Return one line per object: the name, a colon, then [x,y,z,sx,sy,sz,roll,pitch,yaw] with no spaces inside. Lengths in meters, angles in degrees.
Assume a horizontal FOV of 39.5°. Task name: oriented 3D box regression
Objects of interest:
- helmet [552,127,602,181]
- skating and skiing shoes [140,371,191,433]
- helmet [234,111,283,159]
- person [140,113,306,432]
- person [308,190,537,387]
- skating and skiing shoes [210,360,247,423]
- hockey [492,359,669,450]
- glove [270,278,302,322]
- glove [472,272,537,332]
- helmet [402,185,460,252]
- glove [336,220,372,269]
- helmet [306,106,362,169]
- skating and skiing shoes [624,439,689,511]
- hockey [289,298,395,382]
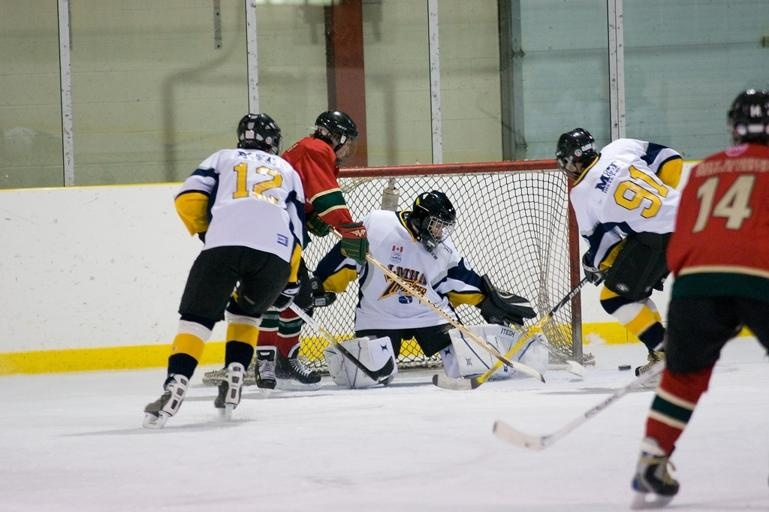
helmet: [1.223,-0.652,6.835,0.278,0.290,0.277,-18,9,0]
skating and skiing shoes: [-1.162,0.792,5.706,0.135,0.186,0.430,-13,10,5]
helmet: [-0.733,-0.679,6.330,0.258,0.255,0.293,-3,-34,7]
person: [-0.891,0.049,6.031,1.004,1.687,0.601,-2,8,-24]
person: [0.213,0.180,7.138,1.628,1.171,0.512,9,12,-14]
skating and skiing shoes: [-0.858,0.747,5.961,0.136,0.153,0.376,5,12,-7]
hockey: [1.038,0.813,5.782,0.884,0.170,0.102,-26,43,-28]
glove: [-0.559,0.267,6.582,0.244,0.294,0.242,4,-1,-4]
glove: [0.795,0.272,7.058,0.412,0.361,0.193,39,45,20]
helmet: [0.305,-0.248,7.038,0.370,0.338,0.303,21,5,35]
glove: [-0.189,-0.078,6.512,0.170,0.255,0.203,0,7,-2]
helmet: [-0.305,-0.797,7.103,0.384,0.346,0.280,5,13,-22]
skating and skiing shoes: [1.210,0.977,4.792,0.196,0.289,0.147,2,7,14]
hockey: [-0.283,0.571,7.098,0.814,0.239,0.083,32,-36,-3]
